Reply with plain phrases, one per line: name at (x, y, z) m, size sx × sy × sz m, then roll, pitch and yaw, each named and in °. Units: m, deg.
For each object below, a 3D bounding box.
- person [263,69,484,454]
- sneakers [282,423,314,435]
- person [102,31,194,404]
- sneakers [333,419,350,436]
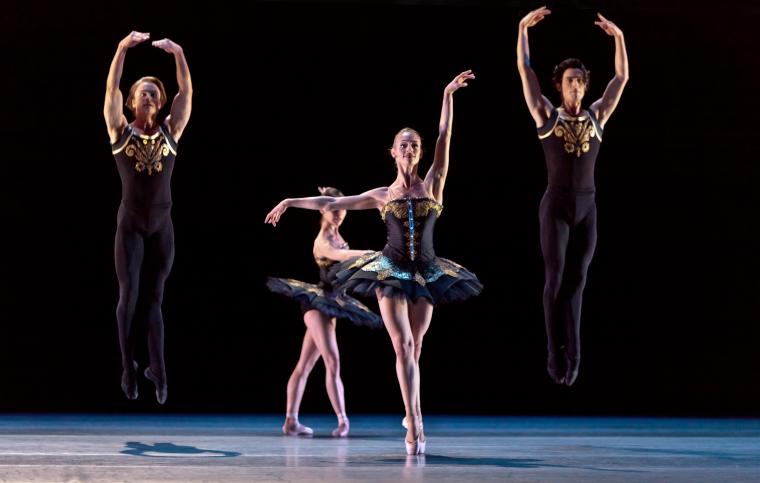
person at (0.139, 0.085, 6.360) m, size 1.141 × 2.724 × 0.412 m, roll 0°, pitch -13°, yaw 5°
sneakers at (-0.638, 1.452, 7.070) m, size 0.220 × 0.146 × 0.091 m, roll 0°, pitch -10°, yaw -5°
person at (-1.681, -0.233, 6.384) m, size 0.586 × 2.622 × 0.844 m, roll 4°, pitch -13°, yaw -11°
sneakers at (-0.316, 1.448, 7.076) m, size 0.149 × 0.138 × 0.100 m, roll -3°, pitch -9°, yaw 37°
